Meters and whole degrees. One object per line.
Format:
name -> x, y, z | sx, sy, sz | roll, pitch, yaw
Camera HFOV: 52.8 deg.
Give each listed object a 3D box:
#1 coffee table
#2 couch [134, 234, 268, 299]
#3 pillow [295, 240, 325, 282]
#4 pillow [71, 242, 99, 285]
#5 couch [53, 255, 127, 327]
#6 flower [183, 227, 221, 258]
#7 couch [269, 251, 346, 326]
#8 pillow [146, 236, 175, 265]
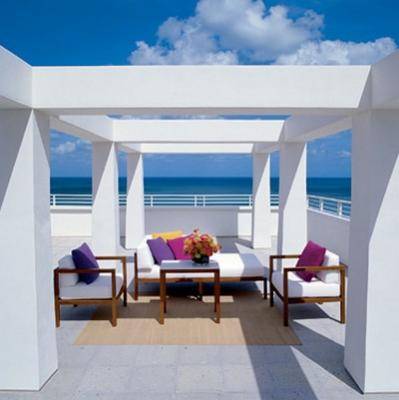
coffee table -> -0.129, 1.119, 5.285 | 0.768, 0.801, 0.809 | 0, -1, -1
couch -> 0.044, 1.131, 6.425 | 1.907, 1.035, 1.286 | -3, -8, 4
pillow -> 1.500, 0.803, 5.481 | 0.344, 0.599, 0.528 | 0, 0, -7
pillow -> -1.472, 0.833, 5.348 | 0.241, 0.504, 0.586 | -9, 8, -2
couch -> -1.408, 1.094, 5.374 | 0.813, 0.938, 1.057 | 0, 0, -2
flower -> 0.057, 0.617, 5.557 | 0.384, 0.331, 0.434 | -2, 0, 19
couch -> 1.423, 1.095, 5.497 | 0.833, 1.056, 0.966 | 0, -1, -2
pillow -> -0.628, 0.791, 6.345 | 0.321, 0.442, 0.344 | 0, 0, -43
